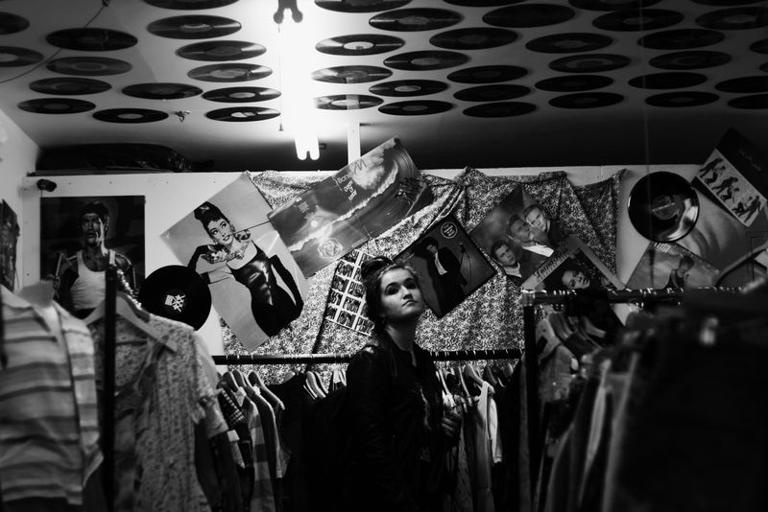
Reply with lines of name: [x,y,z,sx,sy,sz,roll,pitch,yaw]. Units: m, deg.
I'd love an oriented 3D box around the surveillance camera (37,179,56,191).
surveillance camera: [-2.044,-0.424,3.750,0.104,0.070,0.038,0,1,-26]

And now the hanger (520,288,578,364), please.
hanger: [0.568,0.243,2.225,0.165,0.233,0.115,1,1,4]

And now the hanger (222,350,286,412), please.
hanger: [-0.733,0.714,3.469,0.333,0.186,0.026,1,-13,-5]

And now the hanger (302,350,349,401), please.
hanger: [-0.335,0.649,3.482,0.217,0.293,0.098,-2,13,-6]
